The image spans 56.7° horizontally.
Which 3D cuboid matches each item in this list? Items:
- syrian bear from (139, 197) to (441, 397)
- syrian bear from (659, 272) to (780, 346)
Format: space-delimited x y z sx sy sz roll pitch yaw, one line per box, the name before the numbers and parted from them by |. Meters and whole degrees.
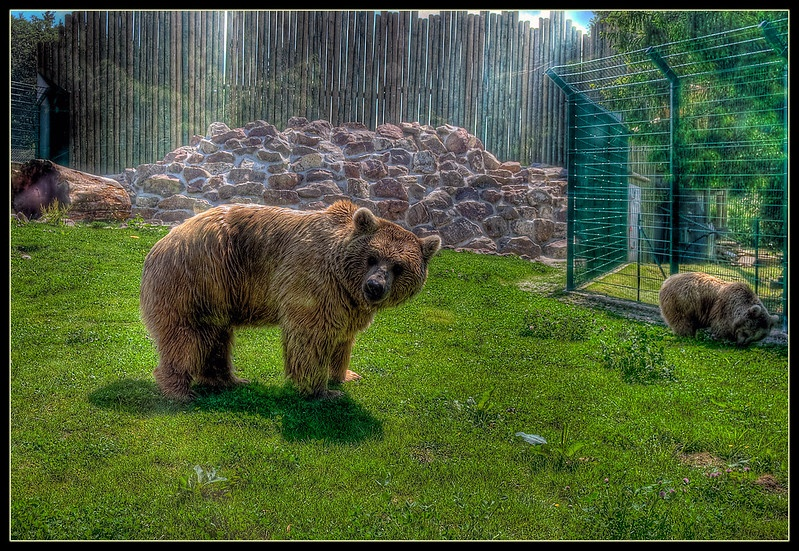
syrian bear | -0.958 0.167 6.184 2.169 1.653 1.202 1 5 4
syrian bear | 3.000 0.312 7.010 0.906 0.568 0.524 16 13 41
